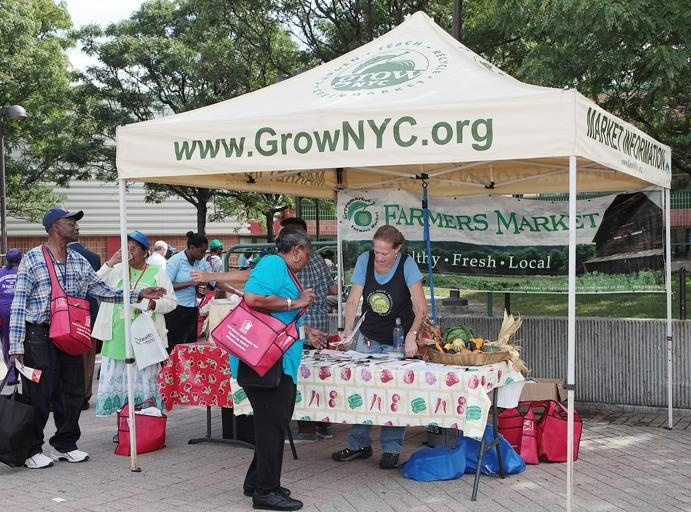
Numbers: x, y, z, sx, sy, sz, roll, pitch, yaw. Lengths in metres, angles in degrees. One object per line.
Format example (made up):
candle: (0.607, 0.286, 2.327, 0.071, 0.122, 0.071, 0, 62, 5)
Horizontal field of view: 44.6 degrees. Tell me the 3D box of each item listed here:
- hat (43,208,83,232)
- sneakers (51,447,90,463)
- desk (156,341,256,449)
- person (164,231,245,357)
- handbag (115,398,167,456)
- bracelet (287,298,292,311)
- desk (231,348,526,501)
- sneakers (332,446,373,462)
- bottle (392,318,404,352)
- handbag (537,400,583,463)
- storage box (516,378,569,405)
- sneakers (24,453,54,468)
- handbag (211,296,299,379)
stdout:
hat: (-3.168, -0.458, 9.360, 0.430, 0.221, 0.270, -26, 12, -6)
sneakers: (-3.138, 2.259, 9.595, 0.415, 0.176, 0.163, -1, 0, 0)
desk: (-1.713, 1.683, 10.204, 1.022, 0.842, 0.971, 3, -6, -18)
person: (-1.985, 0.707, 11.126, 0.760, 2.004, 0.736, -9, 18, -29)
handbag: (-2.487, 2.040, 10.010, 0.471, 0.630, 0.668, -6, -7, 45)
bracelet: (-0.537, 0.446, 8.039, 0.058, 0.082, 0.079, -2, 0, 0)
desk: (0.438, 1.711, 8.935, 2.198, 0.534, 1.283, 3, 1, 20)
sneakers: (0.079, 2.197, 9.514, 0.499, 0.238, 0.168, 4, -5, -12)
bottle: (0.586, 0.867, 9.326, 0.131, 0.365, 0.301, -1, 7, 3)
handbag: (2.332, 1.970, 9.348, 0.484, 0.681, 0.658, 3, -6, 2)
storage box: (2.388, 1.590, 10.129, 0.548, 0.214, 0.551, -2, -1, 21)
sneakers: (-3.424, 2.270, 9.404, 0.271, 0.107, 0.151, -5, -4, 35)
handbag: (-0.851, 0.754, 7.960, 0.703, 0.704, 0.248, 35, -13, 11)
